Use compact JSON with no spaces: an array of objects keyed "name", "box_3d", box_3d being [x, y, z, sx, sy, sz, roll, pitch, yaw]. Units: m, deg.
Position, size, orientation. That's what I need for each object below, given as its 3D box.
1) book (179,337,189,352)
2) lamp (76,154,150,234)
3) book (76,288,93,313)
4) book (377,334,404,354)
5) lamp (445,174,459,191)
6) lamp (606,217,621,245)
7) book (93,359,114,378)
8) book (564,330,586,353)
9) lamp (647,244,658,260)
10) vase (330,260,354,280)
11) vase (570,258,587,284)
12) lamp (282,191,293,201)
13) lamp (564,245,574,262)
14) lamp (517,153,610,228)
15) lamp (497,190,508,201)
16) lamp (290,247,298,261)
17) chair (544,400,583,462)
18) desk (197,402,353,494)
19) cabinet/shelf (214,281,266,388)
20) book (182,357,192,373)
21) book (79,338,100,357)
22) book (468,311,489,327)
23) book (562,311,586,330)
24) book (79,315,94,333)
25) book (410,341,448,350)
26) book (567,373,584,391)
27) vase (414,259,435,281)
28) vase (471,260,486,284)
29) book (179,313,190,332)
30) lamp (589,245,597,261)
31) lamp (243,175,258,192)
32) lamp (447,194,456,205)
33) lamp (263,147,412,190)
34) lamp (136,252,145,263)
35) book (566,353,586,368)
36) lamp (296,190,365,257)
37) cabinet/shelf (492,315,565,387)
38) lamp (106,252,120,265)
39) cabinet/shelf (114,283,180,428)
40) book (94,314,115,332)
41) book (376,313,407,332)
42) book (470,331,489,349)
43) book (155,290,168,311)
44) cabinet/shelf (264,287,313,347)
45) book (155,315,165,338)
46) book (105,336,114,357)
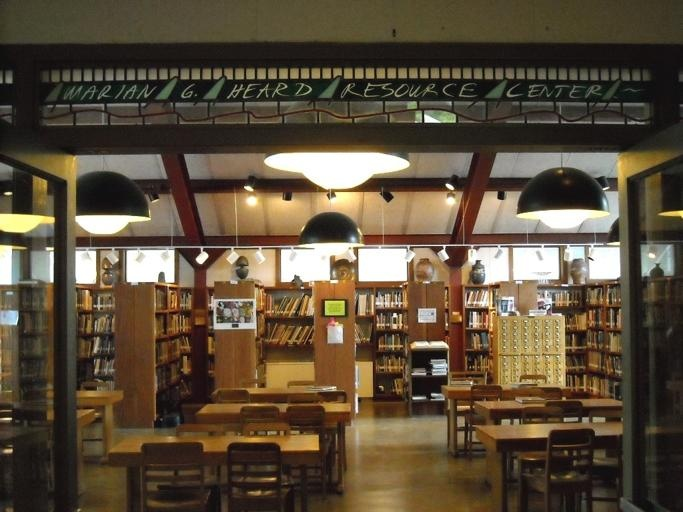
[{"name":"book","box_3d":[-2.852,1.563,14.956,0.049,0.226,0.221,-1,-2,38]},{"name":"lamp","box_3d":[-1.999,-0.456,7.003,0.711,0.550,0.759,-4,-3,25]},{"name":"book","box_3d":[-4.129,0.700,13.373,0.275,0.415,0.399,-1,-3,4]},{"name":"book","box_3d":[0.860,1.666,15.098,0.465,0.371,0.281,1,-9,-3]},{"name":"lamp","box_3d":[1.829,-1.216,13.940,0.223,0.272,0.618,0,2,20]},{"name":"lamp","box_3d":[2.744,-0.244,8.415,0.103,0.262,0.985,0,2,17]},{"name":"book","box_3d":[-3.709,1.738,12.918,0.282,0.298,0.157,0,-3,0]},{"name":"book","box_3d":[4.209,1.523,14.974,0.359,0.338,0.228,0,2,5]},{"name":"lamp","box_3d":[2.118,-0.029,5.674,0.074,0.090,0.078,6,-1,17]},{"name":"vase","box_3d":[0.044,0.253,12.705,0.304,0.211,0.310,-7,13,-20]},{"name":"vase","box_3d":[4.255,0.273,15.034,0.298,0.452,0.307,0,2,22]},{"name":"lamp","box_3d":[-0.920,-1.004,13.923,0.137,0.166,0.144,0,-1,-5]},{"name":"lamp","box_3d":[3.984,-0.050,14.635,0.219,0.241,0.427,2,-9,19]},{"name":"lamp","box_3d":[1.835,-0.508,7.140,0.553,0.449,0.578,0,-6,-4]},{"name":"lamp","box_3d":[2.630,-0.989,13.681,0.176,0.194,0.208,-2,-2,14]},{"name":"lamp","box_3d":[-0.803,0.000,13.294,0.180,0.256,0.227,2,8,-3]},{"name":"chair","box_3d":[2.388,1.731,8.958,0.303,0.586,0.372,0,3,6]},{"name":"desk","box_3d":[-0.686,2.369,9.348,1.446,0.923,1.022,-1,-7,2]},{"name":"cabinet/shelf","box_3d":[-1.676,1.193,12.962,0.639,1.638,0.369,-1,2,-10]},{"name":"book","box_3d":[-2.809,1.943,14.978,0.165,0.308,0.079,-1,2,-19]},{"name":"book","box_3d":[-3.943,1.420,13.125,0.259,0.364,0.360,-3,-6,14]},{"name":"book","box_3d":[2.468,1.117,14.948,0.329,0.354,0.257,0,-2,8]},{"name":"book","box_3d":[4.223,1.164,14.989,0.368,0.311,0.345,0,2,15]},{"name":"book","box_3d":[-4.074,1.096,13.288,0.233,0.346,0.263,-2,-10,3]},{"name":"book","box_3d":[1.403,1.441,13.492,0.603,0.112,0.447,0,2,1]},{"name":"book","box_3d":[4.160,2.218,14.802,0.362,0.292,0.185,0,2,4]},{"name":"vase","box_3d":[1.439,0.242,14.626,0.336,0.429,0.351,1,4,-1]},{"name":"vase","box_3d":[2.425,0.291,14.897,0.255,0.427,0.365,0,2,6]},{"name":"book","box_3d":[-2.835,1.175,14.920,0.224,0.323,0.321,-1,-2,7]},{"name":"lamp","box_3d":[4.629,-0.068,15.355,0.085,0.336,0.248,-5,-48,19]},{"name":"lamp","box_3d":[-1.545,-1.173,13.569,0.250,0.240,0.300,9,9,-6]},{"name":"lamp","box_3d":[1.843,-0.962,14.018,0.129,0.119,0.199,3,38,4]},{"name":"lamp","box_3d":[-0.038,-0.635,6.169,1.054,0.220,0.394,-1,2,-5]},{"name":"lamp","box_3d":[-3.402,0.020,13.989,0.134,0.163,0.140,17,3,3]},{"name":"book","box_3d":[4.196,1.855,14.918,0.336,0.245,0.168,-1,2,-20]},{"name":"lamp","box_3d":[-0.117,-0.278,8.165,0.475,0.505,0.467,2,-5,-40]},{"name":"cabinet/shelf","box_3d":[3.031,1.517,13.370,0.998,1.339,0.412,0,-5,-4]},{"name":"lamp","box_3d":[-3.882,0.051,13.988,0.174,0.231,0.176,-1,-14,-16]},{"name":"cabinet/shelf","box_3d":[-2.876,1.433,13.563,0.945,2.139,2.748,0,2,8]},{"name":"book","box_3d":[-3.768,1.096,13.283,0.332,0.354,0.252,2,-14,-8]},{"name":"book","box_3d":[0.859,1.173,15.131,0.482,0.313,0.223,0,2,17]},{"name":"book","box_3d":[2.450,1.507,14.881,0.336,0.361,0.262,0,-10,4]},{"name":"book","box_3d":[-2.883,0.689,13.218,0.217,0.313,0.316,-1,-5,2]},{"name":"cabinet/shelf","box_3d":[-0.980,1.145,15.263,0.987,1.062,0.331,1,-11,-2]},{"name":"book","box_3d":[-2.890,1.102,13.117,0.175,0.334,0.335,-1,-8,5]},{"name":"book","box_3d":[-3.663,1.401,13.072,0.126,0.287,0.176,-1,2,-6]}]
